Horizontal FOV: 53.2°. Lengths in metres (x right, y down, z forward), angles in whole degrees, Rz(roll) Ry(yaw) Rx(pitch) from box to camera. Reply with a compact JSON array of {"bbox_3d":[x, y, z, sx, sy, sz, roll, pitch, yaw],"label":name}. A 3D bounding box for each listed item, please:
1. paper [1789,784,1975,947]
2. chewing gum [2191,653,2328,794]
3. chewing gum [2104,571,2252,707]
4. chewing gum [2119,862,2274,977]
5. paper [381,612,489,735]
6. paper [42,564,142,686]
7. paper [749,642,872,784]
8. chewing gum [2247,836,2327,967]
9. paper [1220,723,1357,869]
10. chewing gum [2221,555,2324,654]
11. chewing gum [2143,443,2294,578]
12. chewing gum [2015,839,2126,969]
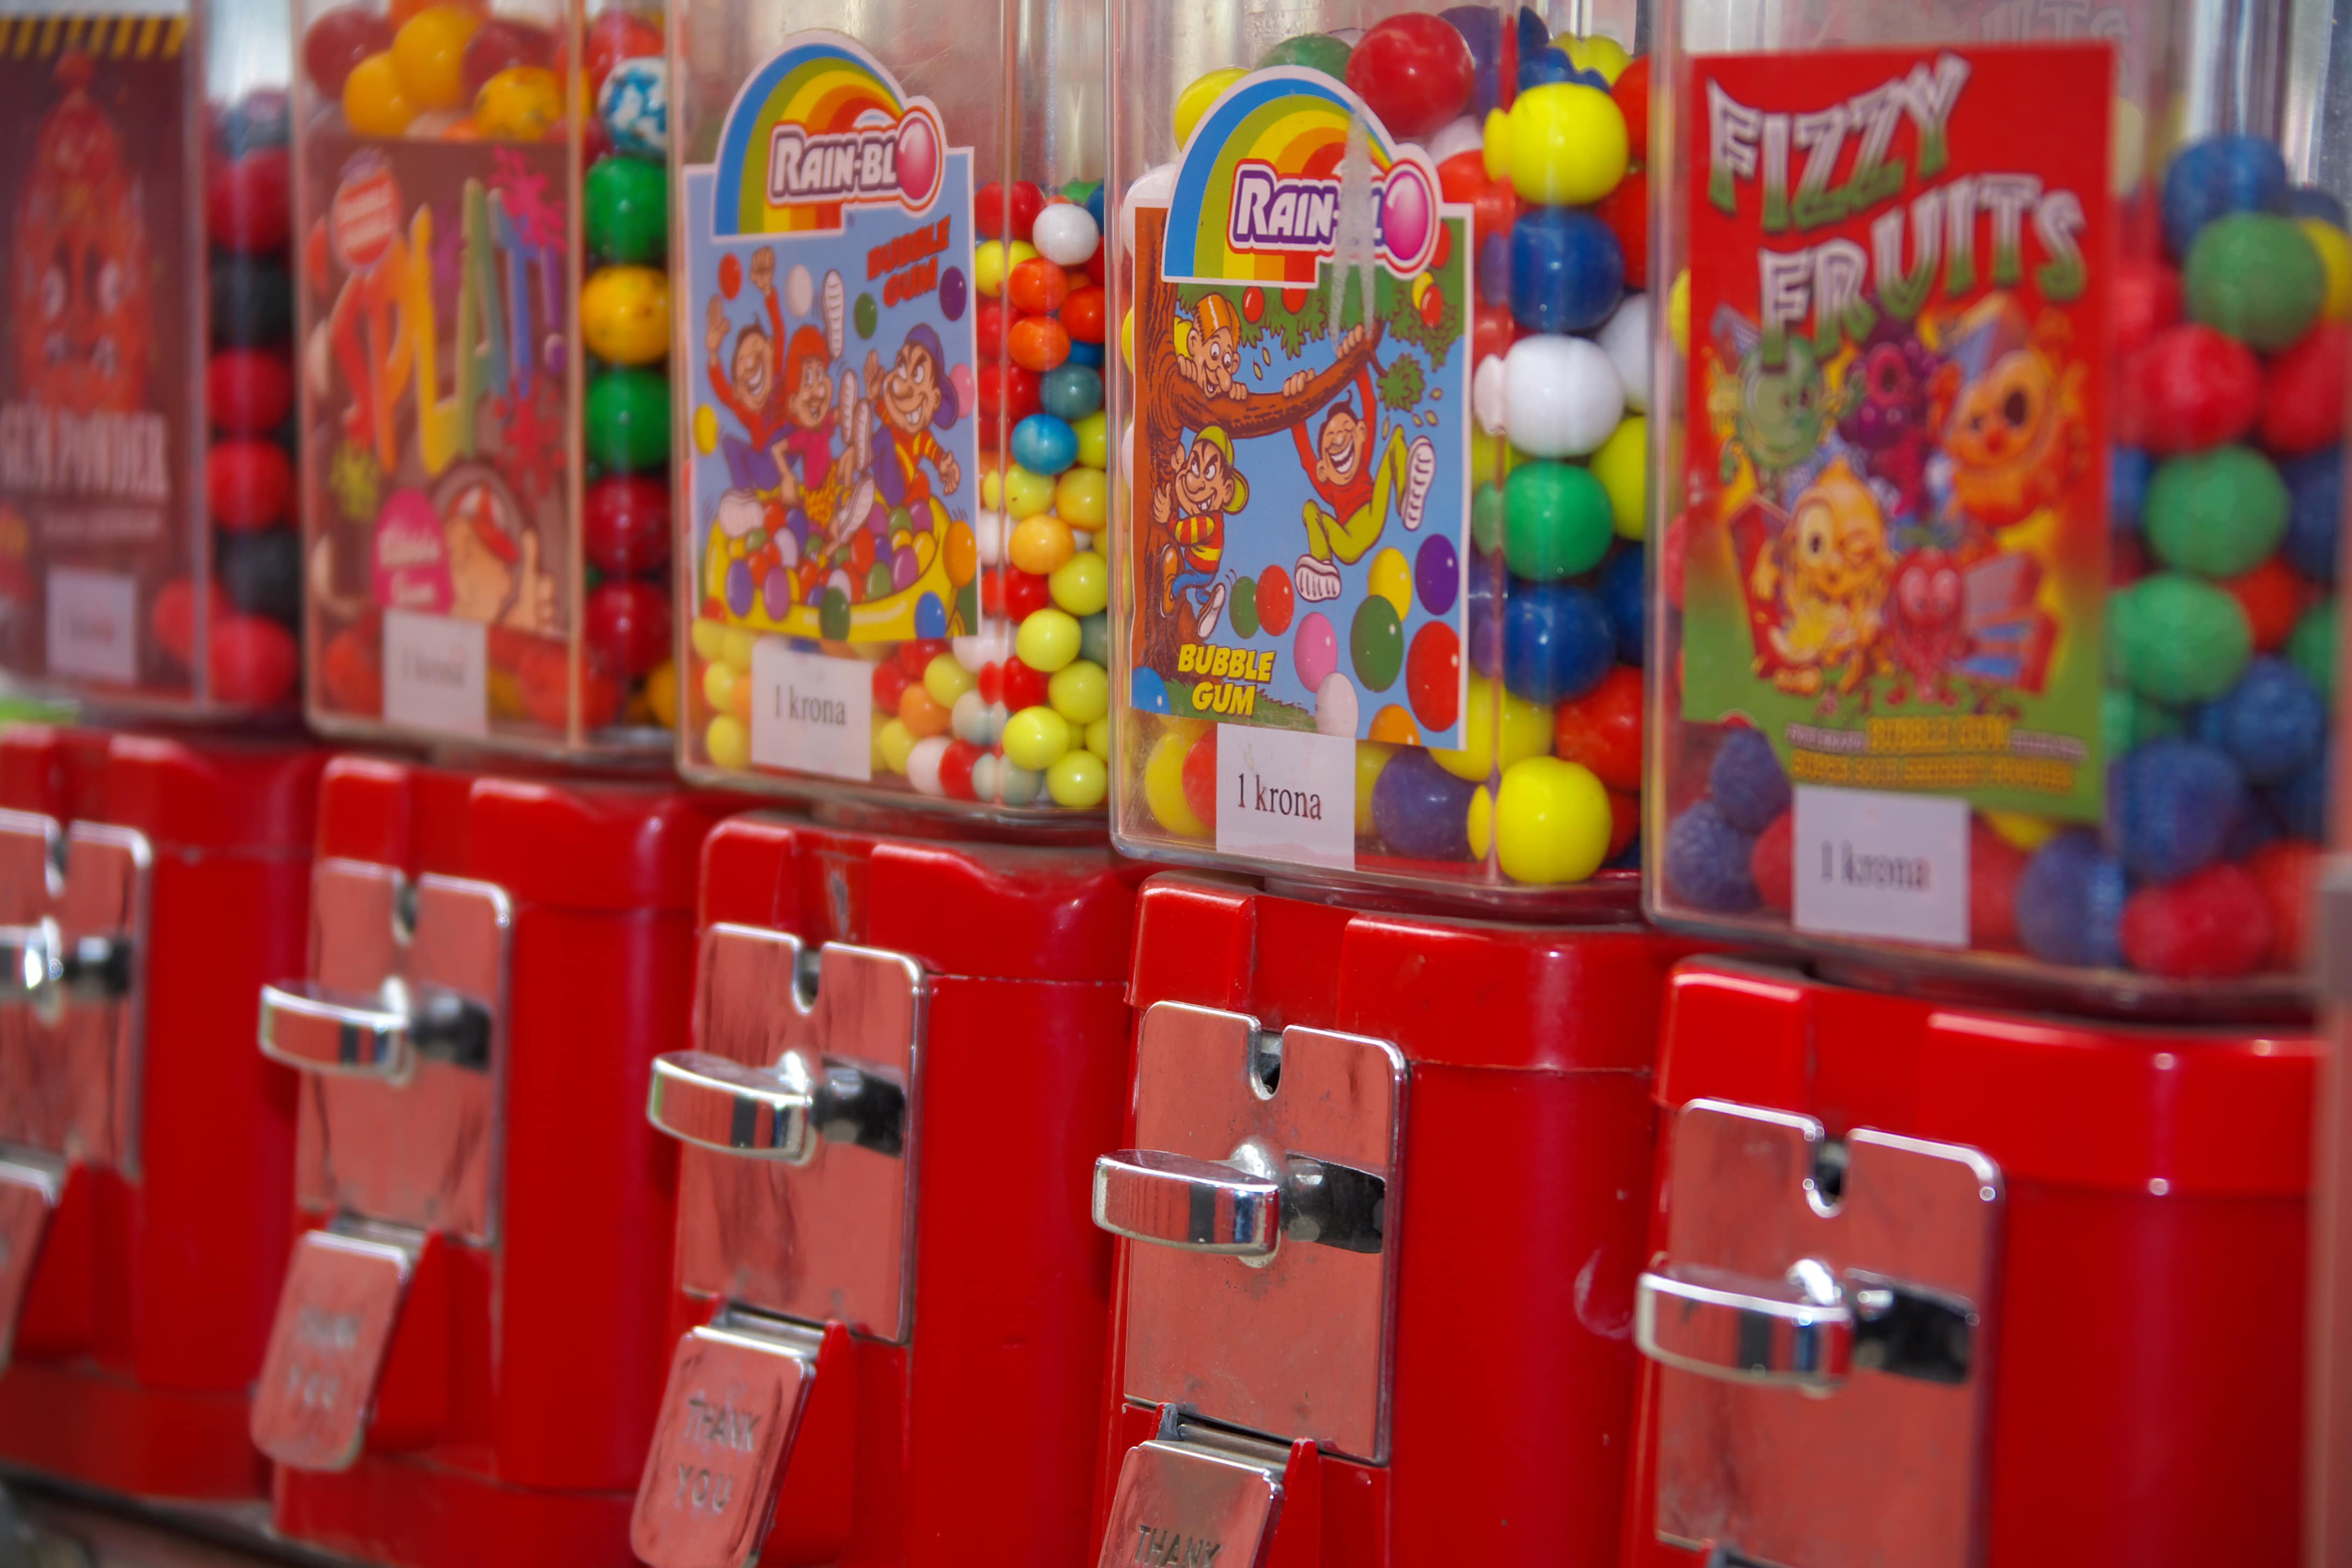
[{"bbox_3d":[0.315,0.035,1.036,0.057,0.060,0.008,4,4,43],"label":"paper"},{"bbox_3d":[0.452,-0.023,0.985,0.036,0.050,0.056,0,5,8],"label":"chewing gum"},{"bbox_3d":[0.426,-0.061,1.000,0.066,0.064,0.057,10,12,19],"label":"chewing gum"},{"bbox_3d":[0.431,0.059,0.986,0.050,0.051,0.044,-5,-6,-6],"label":"chewing gum"},{"bbox_3d":[-0.486,-0.073,1.541,0.069,0.088,0.018,10,8,32],"label":"paper"},{"bbox_3d":[-0.787,-0.114,1.698,0.009,0.093,0.091,-3,-3,26],"label":"paper"},{"bbox_3d":[-0.210,-0.053,1.399,0.079,0.077,0.050,6,21,10],"label":"paper"},{"bbox_3d":[0.454,0.046,0.961,0.033,0.052,0.037,-6,-15,26],"label":"chewing gum"},{"bbox_3d":[0.057,0.006,1.213,0.062,0.059,0.064,3,-1,38],"label":"paper"},{"bbox_3d":[0.457,-0.076,0.979,0.031,0.048,0.036,2,-7,-7],"label":"chewing gum"},{"bbox_3d":[0.426,-0.113,0.969,0.045,0.059,0.040,5,-10,5],"label":"chewing gum"},{"bbox_3d":[0.381,0.049,1.000,0.042,0.054,0.010,3,0,26],"label":"chewing gum"}]
